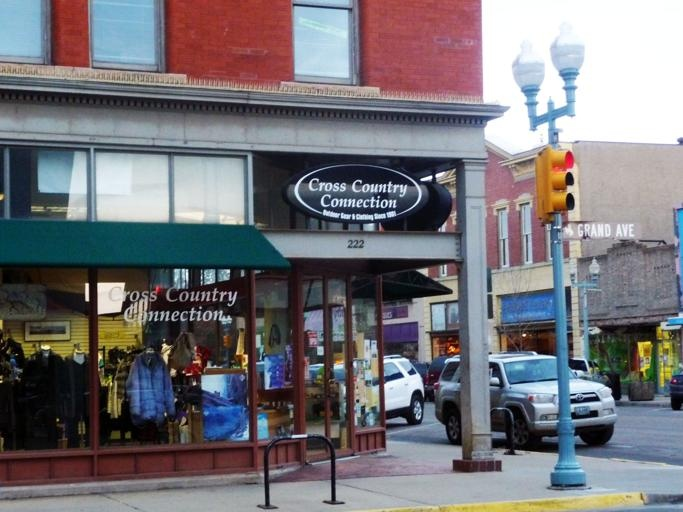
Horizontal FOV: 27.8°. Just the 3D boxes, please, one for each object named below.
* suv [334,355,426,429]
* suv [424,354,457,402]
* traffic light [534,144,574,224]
[{"bbox_3d":[1.458,3.460,35.671,1.631,1.482,2.710,-6,-10,38],"label":"suv"},{"bbox_3d":[3.141,4.006,45.376,1.019,1.046,1.987,0,1,14],"label":"suv"},{"bbox_3d":[3.659,-1.252,23.724,0.709,1.316,0.519,-6,-8,19],"label":"traffic light"}]
